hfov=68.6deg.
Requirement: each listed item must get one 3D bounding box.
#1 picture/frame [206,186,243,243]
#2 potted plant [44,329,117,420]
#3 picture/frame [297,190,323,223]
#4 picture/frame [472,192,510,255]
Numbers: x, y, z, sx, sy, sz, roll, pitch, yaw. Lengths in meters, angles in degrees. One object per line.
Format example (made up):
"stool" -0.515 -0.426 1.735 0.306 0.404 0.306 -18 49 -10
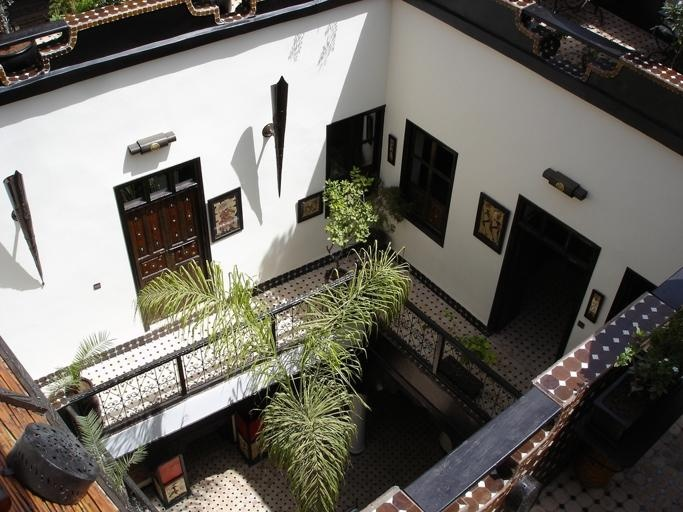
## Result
"picture/frame" -2.267 -0.826 9.813 0.760 0.912 0.556 -18 7 -17
"potted plant" -4.877 1.976 9.223 0.775 1.386 1.485 -13 7 9
"picture/frame" -0.700 -1.119 10.799 0.602 0.471 0.028 -36 55 -26
"picture/frame" 2.895 -0.692 9.625 0.073 1.034 0.728 -27 55 -22
